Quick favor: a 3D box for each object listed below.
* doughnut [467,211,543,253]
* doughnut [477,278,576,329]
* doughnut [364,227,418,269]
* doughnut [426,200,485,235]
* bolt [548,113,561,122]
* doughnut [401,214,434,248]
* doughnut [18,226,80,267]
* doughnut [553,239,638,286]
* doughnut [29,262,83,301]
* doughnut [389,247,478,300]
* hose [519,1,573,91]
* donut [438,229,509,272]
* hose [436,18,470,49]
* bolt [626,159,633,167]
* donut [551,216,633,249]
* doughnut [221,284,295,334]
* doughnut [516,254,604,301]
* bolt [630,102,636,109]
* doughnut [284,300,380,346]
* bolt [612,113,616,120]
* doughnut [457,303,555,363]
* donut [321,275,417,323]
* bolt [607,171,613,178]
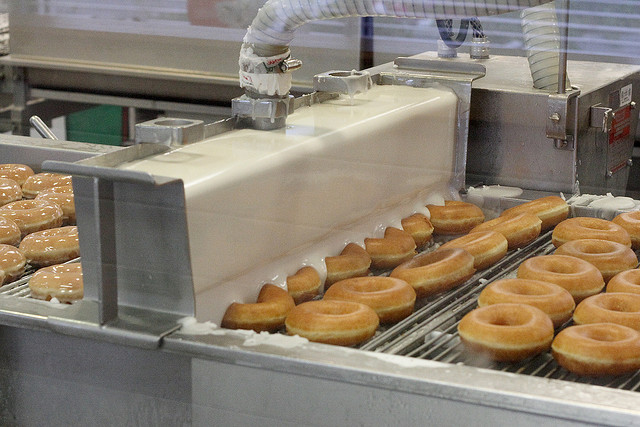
[{"bbox_3d":[0.402,0.034,1.372,0.108,0.035,0.103,-22,4,-24],"label":"doughnut"},{"bbox_3d":[0.356,0.135,1.102,0.109,0.035,0.106,-11,17,-39],"label":"doughnut"},{"bbox_3d":[0.132,0.077,1.318,0.127,0.043,0.122,1,11,39],"label":"doughnut"},{"bbox_3d":[0.302,0.008,1.428,0.139,0.043,0.125,-3,10,7],"label":"doughnut"},{"bbox_3d":[0.502,-0.206,1.376,0.018,0.013,0.006,-4,24,45],"label":"bolt"},{"bbox_3d":[0.201,0.035,1.385,0.072,0.040,0.069,8,18,27],"label":"doughnut"},{"bbox_3d":[-0.520,0.067,1.259,0.140,0.049,0.132,-5,12,-45],"label":"doughnut"},{"bbox_3d":[0.540,0.074,1.223,0.114,0.036,0.106,-8,15,-21],"label":"doughnut"},{"bbox_3d":[-0.441,0.117,1.083,0.069,0.047,0.061,13,22,29],"label":"doughnut"},{"bbox_3d":[0.225,0.108,1.222,0.180,0.071,0.084,-10,15,-30],"label":"doughnut"},{"bbox_3d":[0.375,-0.279,1.064,0.066,0.062,0.214,2,-28,34],"label":"hose"},{"bbox_3d":[0.306,0.070,1.317,0.147,0.042,0.135,-1,9,11],"label":"donut"},{"bbox_3d":[0.214,-0.294,1.033,0.061,0.017,0.076,-12,-19,1],"label":"hose"},{"bbox_3d":[0.655,-0.109,1.362,0.015,0.013,0.013,0,-6,-26],"label":"bolt"},{"bbox_3d":[0.555,0.030,1.318,0.093,0.029,0.088,7,13,22],"label":"donut"},{"bbox_3d":[-0.098,0.169,1.090,0.068,0.067,0.121,9,18,41],"label":"doughnut"},{"bbox_3d":[0.443,0.115,1.194,0.141,0.046,0.137,7,28,40],"label":"doughnut"},{"bbox_3d":[0.690,-0.239,1.421,0.012,0.011,0.020,-10,11,21],"label":"bolt"},{"bbox_3d":[0.019,0.182,1.071,0.151,0.053,0.105,0,13,10],"label":"doughnut"},{"bbox_3d":[0.613,-0.203,1.345,0.004,0.013,0.010,10,49,25],"label":"bolt"},{"bbox_3d":[0.295,0.191,1.027,0.136,0.067,0.098,-10,15,-28],"label":"doughnut"},{"bbox_3d":[0.096,0.140,1.130,0.108,0.033,0.099,-2,9,-16],"label":"donut"},{"bbox_3d":[0.616,-0.084,1.369,0.015,0.012,0.003,9,14,20],"label":"bolt"}]
